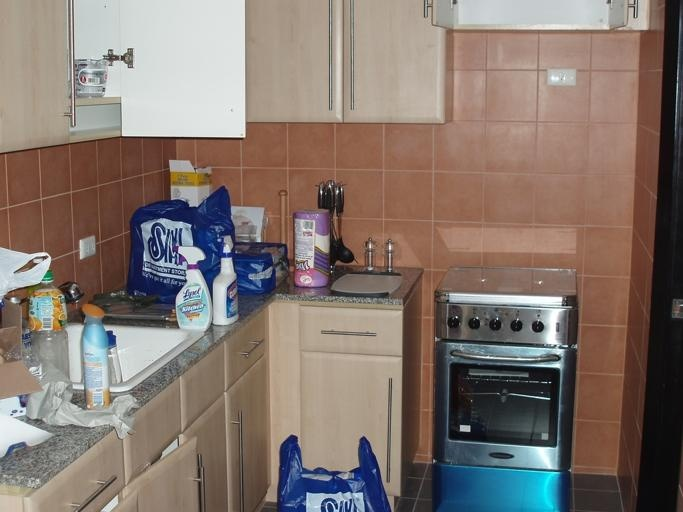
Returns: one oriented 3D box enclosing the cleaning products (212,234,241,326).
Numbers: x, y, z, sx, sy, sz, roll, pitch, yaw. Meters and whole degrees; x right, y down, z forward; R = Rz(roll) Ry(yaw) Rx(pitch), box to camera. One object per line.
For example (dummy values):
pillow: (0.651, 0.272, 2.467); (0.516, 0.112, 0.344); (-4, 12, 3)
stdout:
cleaning products: (-0.460, 0.109, 2.616); (0.100, 0.314, 0.115); (-1, 7, -9)

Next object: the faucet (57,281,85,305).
faucet: (-0.962, 0.129, 2.346); (0.076, 0.077, 0.058); (-24, 14, 22)

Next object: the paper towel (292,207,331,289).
paper towel: (-0.136, -0.031, 3.152); (0.163, 0.356, 0.179); (-1, 1, -16)

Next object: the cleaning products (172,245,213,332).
cleaning products: (-0.562, 0.115, 2.494); (0.134, 0.366, 0.052); (-4, 34, -15)

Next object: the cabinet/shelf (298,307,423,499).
cabinet/shelf: (0.098, 0.613, 3.147); (0.550, 1.232, 0.772); (0, 3, 11)

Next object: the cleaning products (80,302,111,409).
cleaning products: (-0.716, 0.286, 1.928); (0.076, 0.295, 0.136); (-3, 8, -22)

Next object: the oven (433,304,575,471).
oven: (0.713, 0.513, 3.251); (0.601, 1.019, 0.682); (1, 4, 14)
